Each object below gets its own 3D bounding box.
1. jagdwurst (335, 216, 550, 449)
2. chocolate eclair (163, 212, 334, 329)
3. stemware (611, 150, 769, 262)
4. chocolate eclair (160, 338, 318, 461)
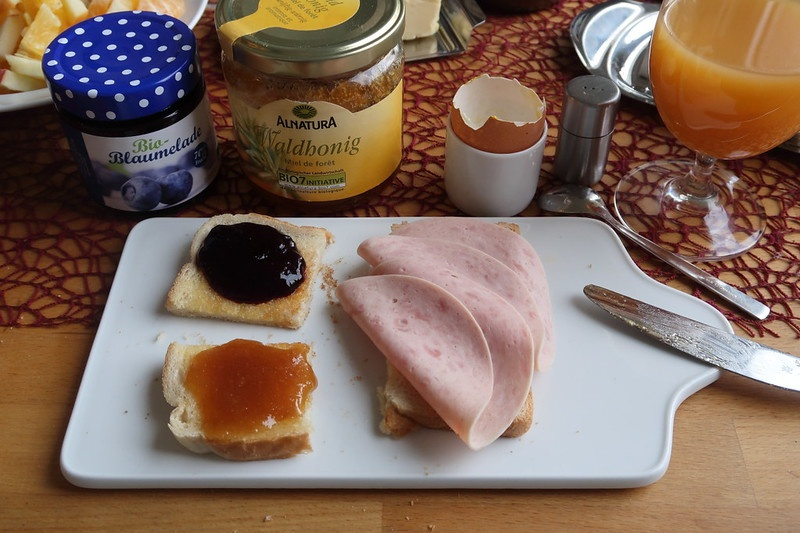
[{"bbox_3d":[0.111,0.112,1.650,0.428,0.139,0.459,-8,61,-5],"label":"jagdwurst"},{"bbox_3d":[-0.360,0.036,1.824,0.286,0.081,0.291,11,51,6],"label":"chocolate eclair"},{"bbox_3d":[0.732,-0.147,1.932,0.305,0.118,0.301,-32,62,-20],"label":"stemware"},{"bbox_3d":[-0.348,0.276,1.605,0.330,0.064,0.259,2,61,-3],"label":"chocolate eclair"}]
